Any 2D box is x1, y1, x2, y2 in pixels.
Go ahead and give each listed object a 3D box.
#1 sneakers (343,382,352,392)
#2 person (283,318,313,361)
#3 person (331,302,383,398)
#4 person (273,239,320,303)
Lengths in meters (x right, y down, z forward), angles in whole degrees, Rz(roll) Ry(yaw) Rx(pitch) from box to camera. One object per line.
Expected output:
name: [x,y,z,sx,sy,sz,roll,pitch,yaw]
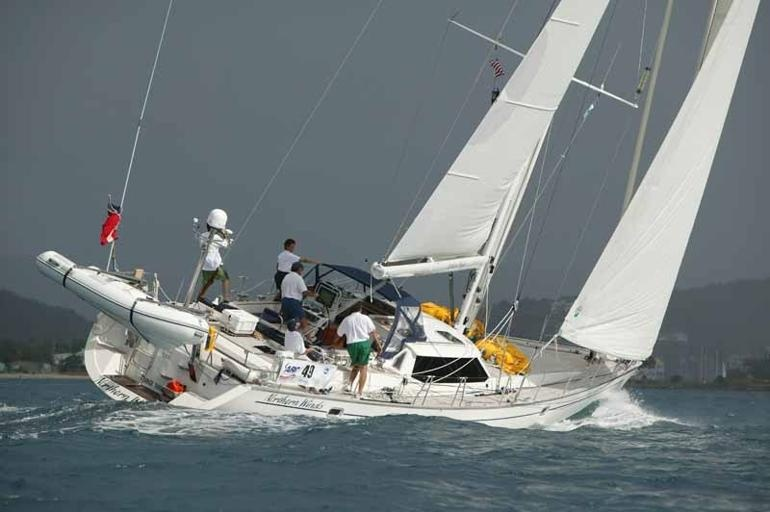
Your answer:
sneakers: [-0.616,2.230,12.141,0.172,0.113,0.049,10,4,-16]
person: [-1.444,1.466,12.290,0.394,0.766,0.510,-15,20,-20]
person: [-0.478,1.622,12.594,0.791,1.183,1.304,11,5,-1]
person: [-1.789,0.418,13.992,0.791,1.488,0.564,12,13,19]
